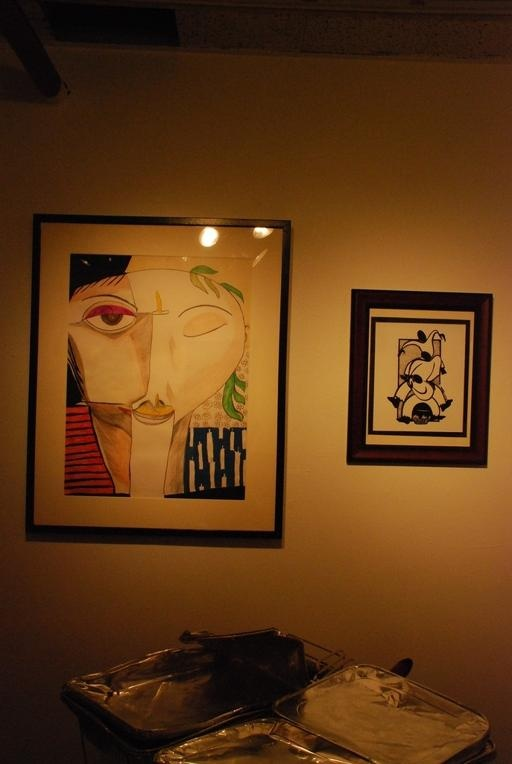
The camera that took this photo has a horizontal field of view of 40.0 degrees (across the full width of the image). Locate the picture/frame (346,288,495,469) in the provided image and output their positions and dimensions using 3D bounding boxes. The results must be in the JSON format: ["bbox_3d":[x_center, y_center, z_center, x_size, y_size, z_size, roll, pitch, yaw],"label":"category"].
[{"bbox_3d":[0.409,-0.009,1.770,0.463,0.547,0.040,1,1,-3],"label":"picture/frame"}]

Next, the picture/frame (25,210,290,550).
[{"bbox_3d":[-0.250,-0.013,1.749,0.832,0.996,0.039,1,-2,-3],"label":"picture/frame"}]
